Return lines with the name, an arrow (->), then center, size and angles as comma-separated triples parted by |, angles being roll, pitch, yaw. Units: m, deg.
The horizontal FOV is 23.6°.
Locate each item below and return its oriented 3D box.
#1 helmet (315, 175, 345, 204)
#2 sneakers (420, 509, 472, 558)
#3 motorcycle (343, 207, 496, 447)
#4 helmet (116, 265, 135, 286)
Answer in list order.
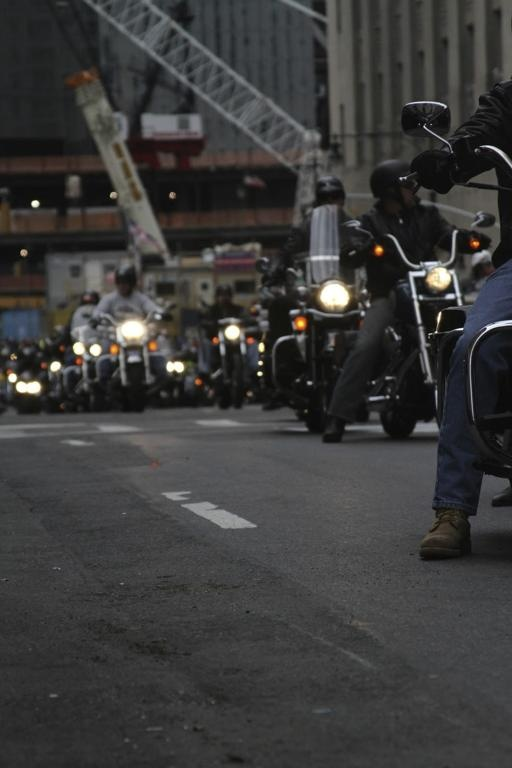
helmet -> 0.623, -1.674, 10.456 | 0.198, 0.279, 0.273 | 0, -31, -3
sneakers -> 0.687, 0.527, 4.398 | 0.138, 0.161, 0.337 | -3, -2, 30
motorcycle -> 1.287, -0.414, 9.292 | 1.099, 1.637, 2.425 | -1, -3, -5
helmet -> -1.895, -1.591, 17.661 | 0.210, 0.272, 0.260 | 4, 4, 11
